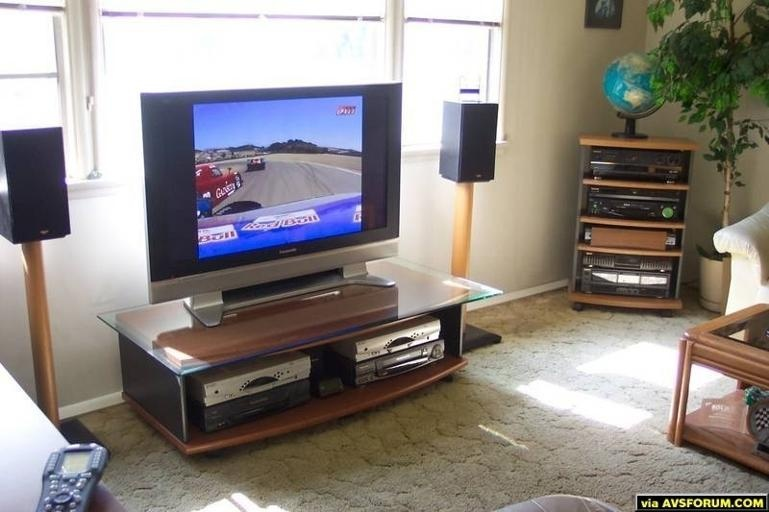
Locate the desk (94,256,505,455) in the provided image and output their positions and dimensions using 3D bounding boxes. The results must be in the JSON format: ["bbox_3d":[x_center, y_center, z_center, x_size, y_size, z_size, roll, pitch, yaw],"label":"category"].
[{"bbox_3d":[-0.383,0.468,3.197,1.931,0.407,0.992,-10,15,-41],"label":"desk"}]

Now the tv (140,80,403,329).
[{"bbox_3d":[-0.564,-0.311,2.876,1.659,1.146,0.158,-16,27,-36],"label":"tv"}]

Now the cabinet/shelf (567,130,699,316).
[{"bbox_3d":[1.711,-0.275,4.437,0.927,1.231,0.721,-1,18,6],"label":"cabinet/shelf"}]
